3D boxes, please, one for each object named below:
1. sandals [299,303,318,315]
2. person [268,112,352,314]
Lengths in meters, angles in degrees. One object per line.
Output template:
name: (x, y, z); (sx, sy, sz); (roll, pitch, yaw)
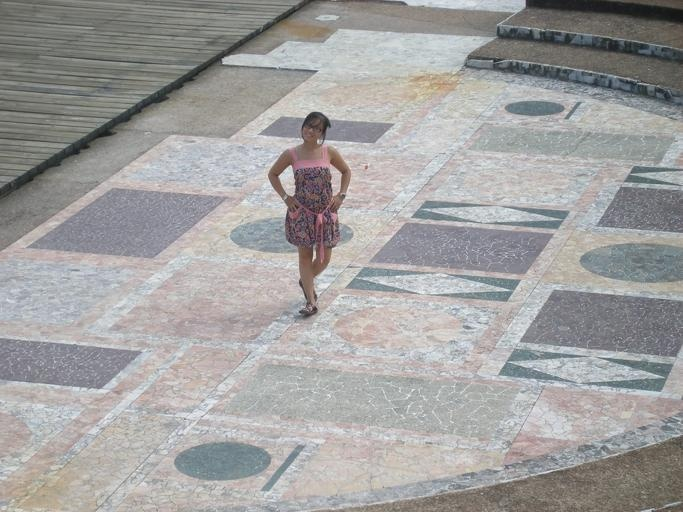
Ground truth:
sandals: (-0.298, 0.493, 6.924); (0.111, 0.052, 0.180); (5, 8, 23)
person: (-0.253, -0.271, 6.893); (0.708, 1.671, 0.957); (-4, 34, 8)
